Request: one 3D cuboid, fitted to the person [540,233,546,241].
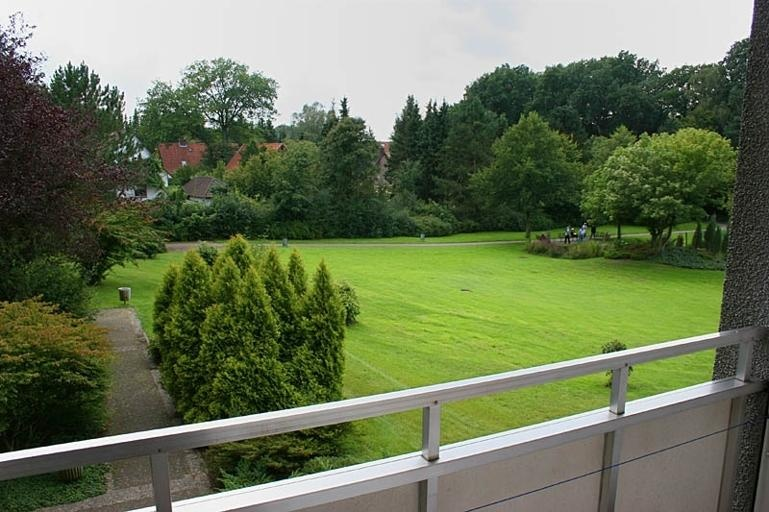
[{"bbox_3d":[10.371,-1.228,39.397,0.615,0.415,0.743,-1,5,6],"label":"person"}]
